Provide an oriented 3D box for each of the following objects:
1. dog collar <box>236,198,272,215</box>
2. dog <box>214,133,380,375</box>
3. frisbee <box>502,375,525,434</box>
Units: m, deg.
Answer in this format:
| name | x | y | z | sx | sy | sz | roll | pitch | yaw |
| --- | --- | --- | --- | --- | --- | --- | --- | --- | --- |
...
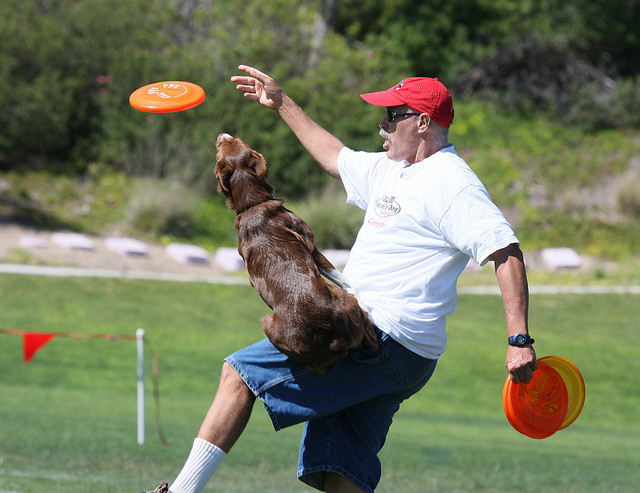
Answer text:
| name | x | y | z | sx | sy | sz | roll | pitch | yaw |
| --- | --- | --- | --- | --- | --- | --- | --- | --- | --- |
| dog collar | -0.688 | -0.373 | 15.862 | 0.306 | 0.038 | 0.047 | -23 | 22 | 3 |
| dog | -0.285 | 0.253 | 16.053 | 1.114 | 2.667 | 1.276 | -31 | -19 | 16 |
| frisbee | 1.994 | 1.619 | 16.125 | 0.250 | 0.645 | 0.458 | 5 | 6 | 7 |
